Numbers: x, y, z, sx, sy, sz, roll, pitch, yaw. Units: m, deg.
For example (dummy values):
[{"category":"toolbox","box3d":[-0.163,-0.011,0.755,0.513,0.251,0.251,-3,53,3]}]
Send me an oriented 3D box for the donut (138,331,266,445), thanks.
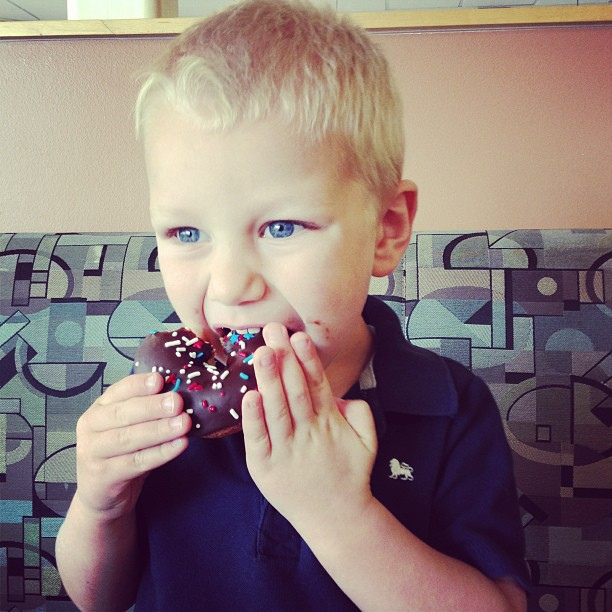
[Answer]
[{"category":"donut","box3d":[-0.167,0.120,1.075,0.241,0.061,0.175,6,64,11]}]
